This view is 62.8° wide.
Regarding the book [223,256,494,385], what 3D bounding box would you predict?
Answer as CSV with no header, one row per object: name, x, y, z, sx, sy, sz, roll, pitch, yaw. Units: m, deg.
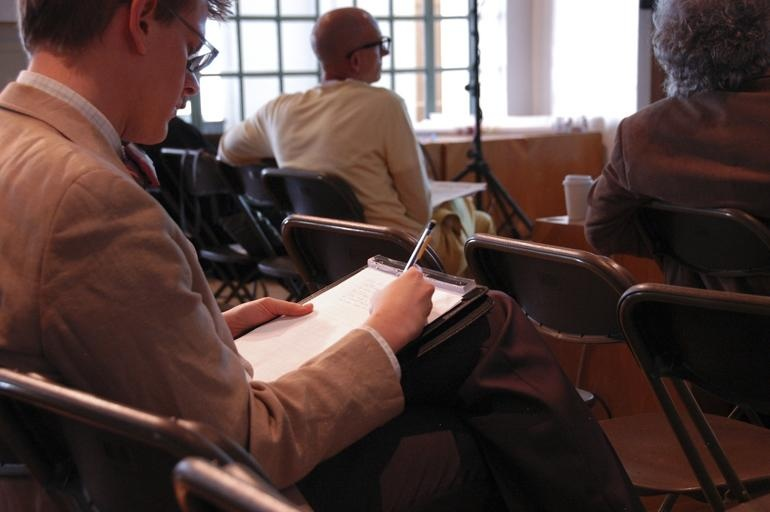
book,-0.080,0.112,1.218,0.340,0.094,0.237,-35,30,-24

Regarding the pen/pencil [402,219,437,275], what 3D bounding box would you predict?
pen/pencil,0.085,-0.028,1.632,0.022,0.207,0.022,24,-10,18

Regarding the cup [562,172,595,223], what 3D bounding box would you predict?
cup,0.693,-0.212,2.307,0.156,0.217,0.149,1,3,0
